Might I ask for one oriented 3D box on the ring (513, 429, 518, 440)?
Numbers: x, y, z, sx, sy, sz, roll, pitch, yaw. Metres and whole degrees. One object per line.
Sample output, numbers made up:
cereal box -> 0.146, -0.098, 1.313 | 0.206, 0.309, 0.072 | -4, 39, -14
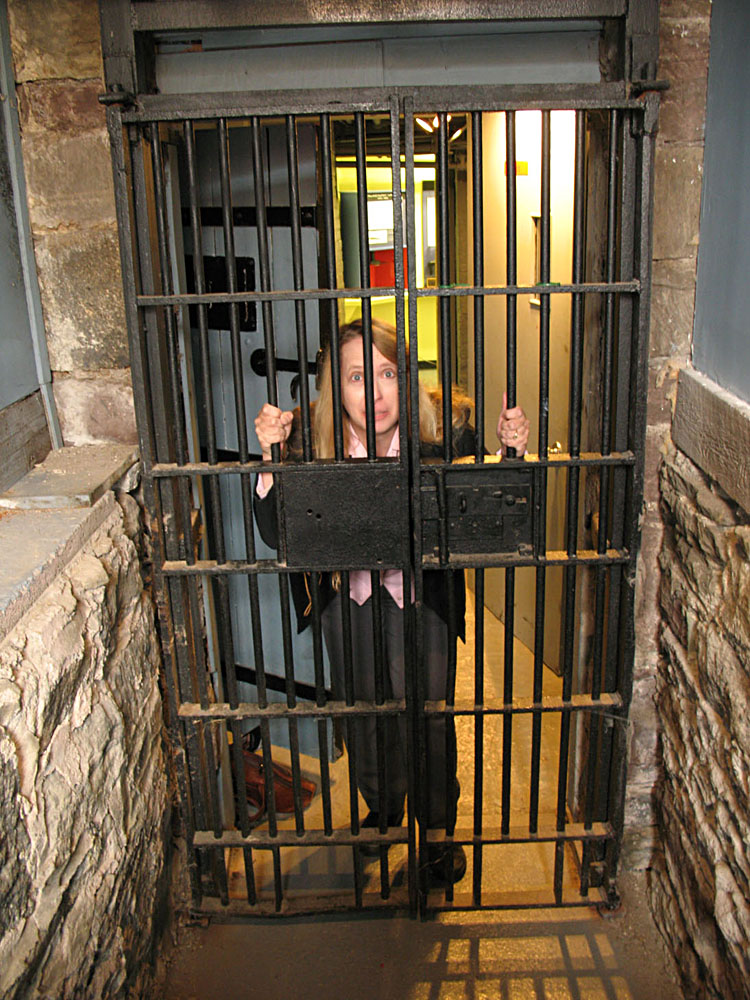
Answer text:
ring -> 0.307, -0.141, 1.748 | 0.016, 0.022, 0.003 | -12, 15, -39

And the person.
person -> 0.071, 0.341, 2.184 | 0.649, 1.549, 0.482 | 0, 22, 10
